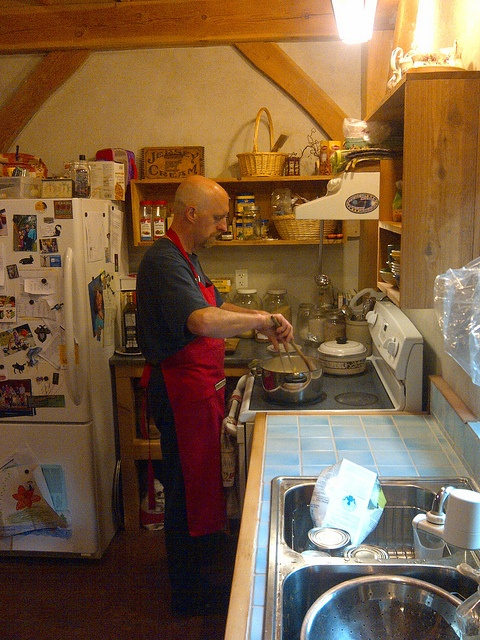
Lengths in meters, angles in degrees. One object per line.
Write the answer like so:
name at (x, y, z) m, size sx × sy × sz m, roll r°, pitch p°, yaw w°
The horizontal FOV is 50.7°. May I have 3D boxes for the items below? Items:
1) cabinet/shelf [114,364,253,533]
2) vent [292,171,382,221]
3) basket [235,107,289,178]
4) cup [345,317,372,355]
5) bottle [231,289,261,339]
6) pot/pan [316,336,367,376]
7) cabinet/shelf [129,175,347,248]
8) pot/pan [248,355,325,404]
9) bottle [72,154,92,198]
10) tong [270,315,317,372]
cabinet/shelf at (-0.257, 0.557, 2.686) m, size 0.595 × 1.138 × 0.788 m, roll -1°, pitch 9°, yaw -8°
vent at (0.343, -0.433, 1.764) m, size 0.208 × 0.120 × 0.160 m, roll 1°, pitch 9°, yaw 7°
basket at (0.140, -0.973, 2.796) m, size 0.258 × 0.377 × 0.292 m, roll 2°, pitch 3°, yaw 11°
cup at (0.579, 0.076, 2.481) m, size 0.149 × 0.176 × 0.156 m, roll -1°, pitch 4°, yaw 0°
bottle at (0.046, -0.055, 2.968) m, size 0.232 × 0.358 × 0.238 m, roll 0°, pitch 3°, yaw 0°
pot/pan at (0.441, 0.156, 2.135) m, size 0.163 × 0.114 × 0.171 m, roll 0°, pitch 4°, yaw 2°
cabinet/shelf at (-0.005, -0.606, 2.871) m, size 1.206 × 0.438 × 0.260 m, roll 1°, pitch 8°, yaw 3°
pot/pan at (0.198, 0.213, 1.914) m, size 0.236 × 0.127 × 0.324 m, roll -2°, pitch 14°, yaw -5°
bottle at (-0.777, -0.696, 2.499) m, size 0.080 × 0.188 × 0.225 m, roll 1°, pitch 8°, yaw -18°
tong at (0.237, 0.102, 2.192) m, size 0.034 × 0.253 × 0.035 m, roll -32°, pitch -28°, yaw 12°
